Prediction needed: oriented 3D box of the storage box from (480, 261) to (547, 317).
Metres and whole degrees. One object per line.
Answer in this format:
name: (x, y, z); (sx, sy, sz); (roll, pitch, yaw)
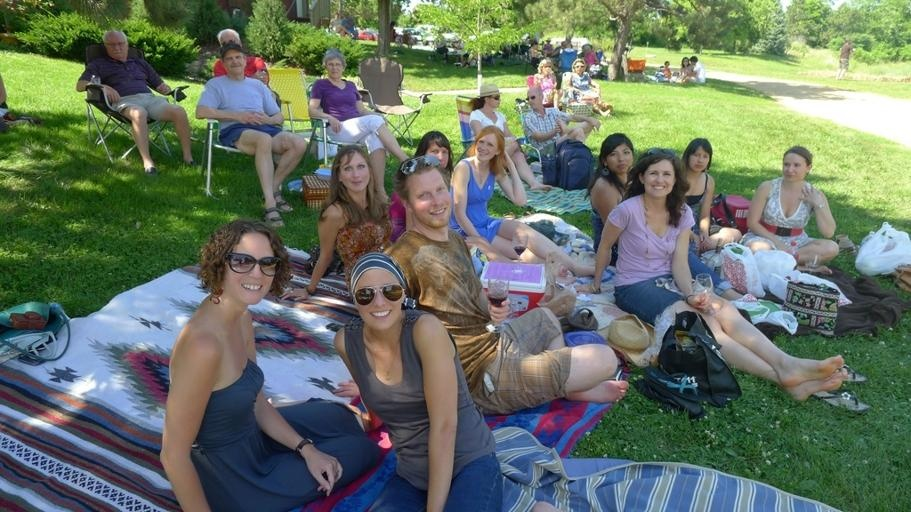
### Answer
storage box: (0.732, 0.281, 6.994); (0.803, 0.805, 0.555); (3, 24, 10)

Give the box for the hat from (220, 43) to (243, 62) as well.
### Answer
hat: (-3.443, -3.131, 9.526); (0.235, 0.169, 0.313); (-11, 11, -9)

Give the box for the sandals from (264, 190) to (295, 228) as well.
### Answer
sandals: (-2.538, -0.668, 8.833); (0.237, 0.158, 0.615); (-12, 46, -32)

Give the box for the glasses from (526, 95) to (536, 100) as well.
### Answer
glasses: (1.487, -3.075, 12.034); (0.084, 0.052, 0.109); (1, 7, 40)

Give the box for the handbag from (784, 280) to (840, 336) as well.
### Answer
handbag: (4.242, 0.563, 7.478); (0.604, 0.635, 0.617); (8, 9, 40)

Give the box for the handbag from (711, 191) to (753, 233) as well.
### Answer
handbag: (3.995, -0.631, 9.116); (0.650, 0.626, 0.458); (10, 4, 11)

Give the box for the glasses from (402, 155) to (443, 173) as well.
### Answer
glasses: (-0.363, -0.905, 6.089); (0.242, 0.229, 0.071); (-11, 68, -25)

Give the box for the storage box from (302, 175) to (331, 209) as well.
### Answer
storage box: (-1.991, -0.909, 8.863); (0.544, 0.342, 0.530); (3, 29, -5)

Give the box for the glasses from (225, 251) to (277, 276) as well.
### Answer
glasses: (-1.728, 0.064, 5.296); (0.428, 0.189, 0.082); (-1, 23, -13)

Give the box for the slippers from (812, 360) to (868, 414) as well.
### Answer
slippers: (3.998, 1.402, 6.466); (0.495, 0.118, 0.468); (10, 50, 42)
